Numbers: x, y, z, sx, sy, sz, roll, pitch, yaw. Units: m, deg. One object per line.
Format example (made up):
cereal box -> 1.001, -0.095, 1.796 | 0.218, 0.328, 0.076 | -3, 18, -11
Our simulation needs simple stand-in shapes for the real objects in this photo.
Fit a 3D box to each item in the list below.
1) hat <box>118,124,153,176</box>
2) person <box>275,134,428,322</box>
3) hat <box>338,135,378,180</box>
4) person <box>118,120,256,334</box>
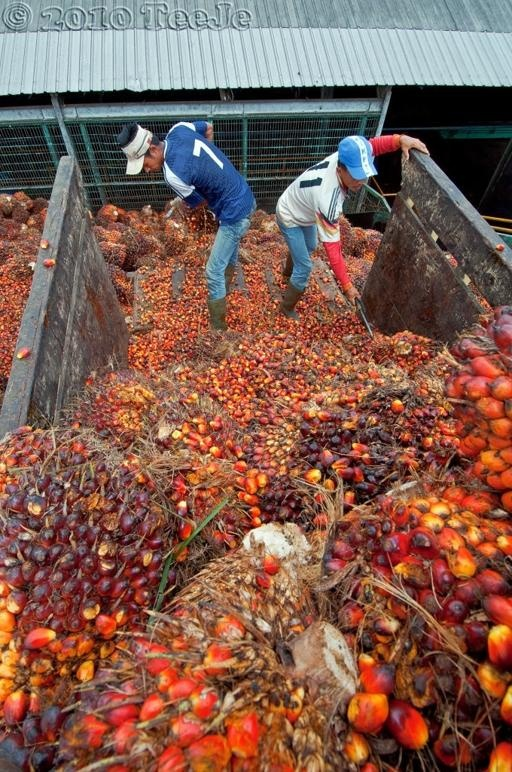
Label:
hat -> -1.074, -2.114, 4.096 | 0.298, 0.408, 0.233 | 6, 45, -4
person -> 0.742, -1.643, 4.847 | 1.118, 1.949, 1.248 | 10, 45, 1
hat -> 0.893, -2.011, 4.060 | 0.353, 0.285, 0.410 | 13, 45, 3
person -> -0.585, -1.658, 4.836 | 1.301, 2.047, 0.870 | -28, 47, -24
